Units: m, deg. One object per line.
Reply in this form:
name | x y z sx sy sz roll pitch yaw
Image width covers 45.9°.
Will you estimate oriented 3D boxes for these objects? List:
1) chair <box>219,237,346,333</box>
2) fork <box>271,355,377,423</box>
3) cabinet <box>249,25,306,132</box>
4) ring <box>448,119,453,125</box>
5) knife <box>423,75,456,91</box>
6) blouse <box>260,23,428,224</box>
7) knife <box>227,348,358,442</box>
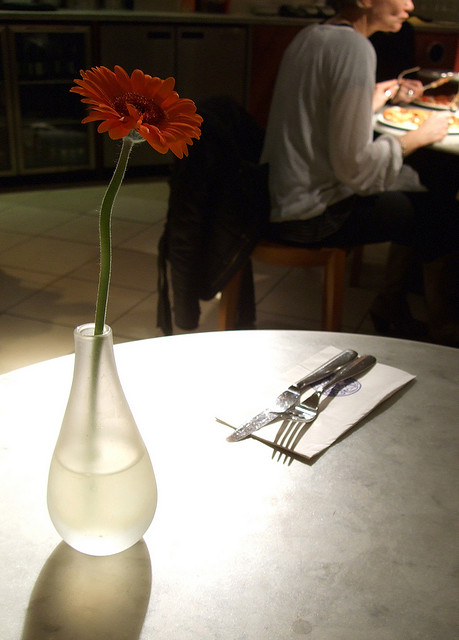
chair | 0.146 -0.118 1.654 0.297 0.288 0.312 -1 10 -12
fork | 0.103 0.087 0.629 0.027 0.014 0.159 13 12 23
cabinet | 0.362 -1.767 4.086 0.498 0.732 0.474 -7 27 -7
ring | 0.612 -0.549 1.500 0.012 0.012 0.021 11 22 16
knife | 0.665 -0.757 1.724 0.079 0.039 0.112 8 21 9
blouse | 0.279 -0.499 1.432 0.375 0.498 0.195 5 22 1
knife | 0.079 0.082 0.622 0.024 0.033 0.238 21 27 36
